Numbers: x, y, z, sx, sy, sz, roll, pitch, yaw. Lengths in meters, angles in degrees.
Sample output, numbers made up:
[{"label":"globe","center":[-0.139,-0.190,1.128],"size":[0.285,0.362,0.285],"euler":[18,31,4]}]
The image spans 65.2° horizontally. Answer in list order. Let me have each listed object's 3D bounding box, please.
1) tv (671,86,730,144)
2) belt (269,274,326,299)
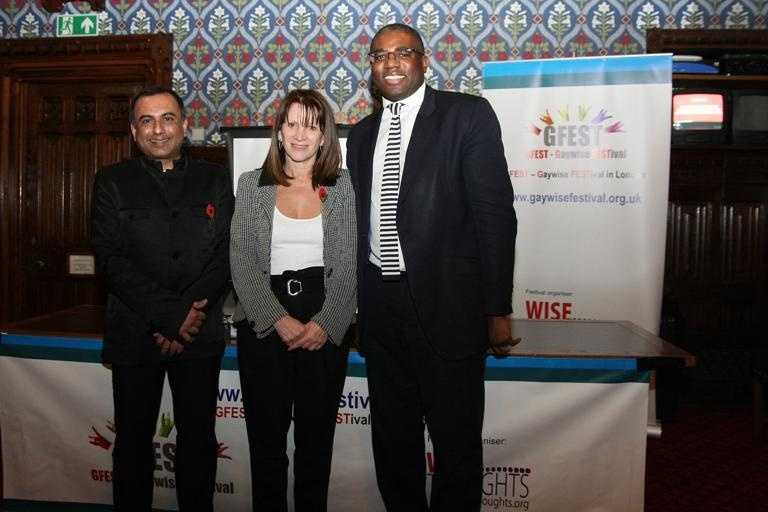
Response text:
[{"label":"tv","center":[2.860,-1.279,5.415],"size":[0.516,0.469,0.265],"euler":[0,4,5]},{"label":"belt","center":[-0.463,0.151,3.226],"size":[0.205,0.153,0.078],"euler":[-4,1,-5]}]
